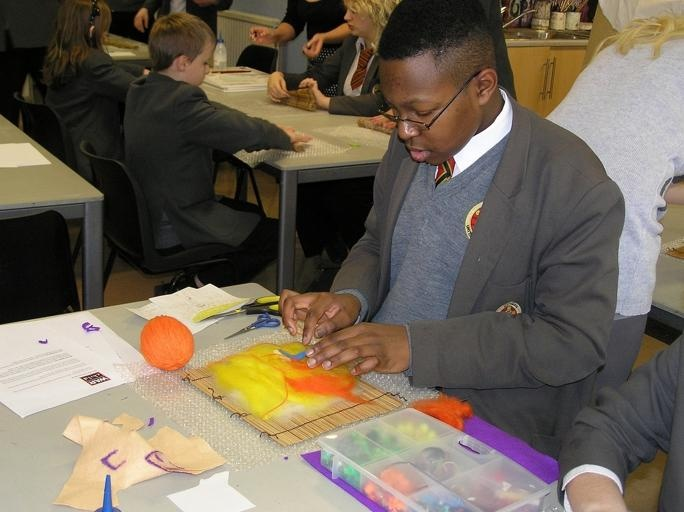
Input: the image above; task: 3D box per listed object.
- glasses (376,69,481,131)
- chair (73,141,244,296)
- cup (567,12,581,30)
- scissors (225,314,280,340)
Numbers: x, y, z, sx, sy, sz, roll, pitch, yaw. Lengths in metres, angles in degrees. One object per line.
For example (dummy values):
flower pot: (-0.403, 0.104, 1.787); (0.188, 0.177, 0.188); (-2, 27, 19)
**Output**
glasses: (0.203, -0.383, 1.227); (0.239, 0.134, 0.149); (8, 26, 15)
chair: (-0.956, -0.389, 2.665); (0.659, 0.944, 0.583); (-17, 37, -29)
cup: (2.755, -2.847, 6.080); (0.191, 0.225, 0.194); (0, 26, 0)
scissors: (-0.215, 0.158, 1.242); (0.048, 0.016, 0.114); (15, 25, 40)
